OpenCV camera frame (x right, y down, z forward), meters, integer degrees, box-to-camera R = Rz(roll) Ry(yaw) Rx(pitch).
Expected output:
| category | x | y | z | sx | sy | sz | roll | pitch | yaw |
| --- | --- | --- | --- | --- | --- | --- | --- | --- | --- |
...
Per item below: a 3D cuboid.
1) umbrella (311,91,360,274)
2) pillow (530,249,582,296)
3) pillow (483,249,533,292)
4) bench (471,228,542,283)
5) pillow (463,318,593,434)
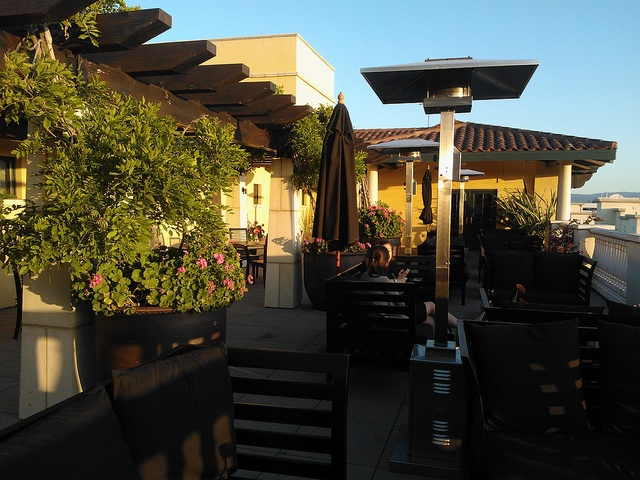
| category | x | y | z | sx | sy | sz | roll | pitch | yaw |
| --- | --- | --- | --- | --- | --- | --- | --- | --- | --- |
| umbrella | 0.223 | -0.886 | 6.349 | 0.558 | 1.644 | 0.325 | 2 | 1 | 1 |
| pillow | 3.061 | 0.454 | 6.611 | 0.438 | 0.506 | 0.164 | -3 | -6 | 21 |
| pillow | 2.509 | 0.425 | 6.754 | 0.449 | 0.446 | 0.164 | 2 | 2 | 18 |
| bench | 3.084 | 0.242 | 8.317 | 0.956 | 0.826 | 0.601 | 0 | 3 | -5 |
| pillow | 1.340 | 0.901 | 3.278 | 0.623 | 0.683 | 0.228 | -2 | -10 | 0 |
